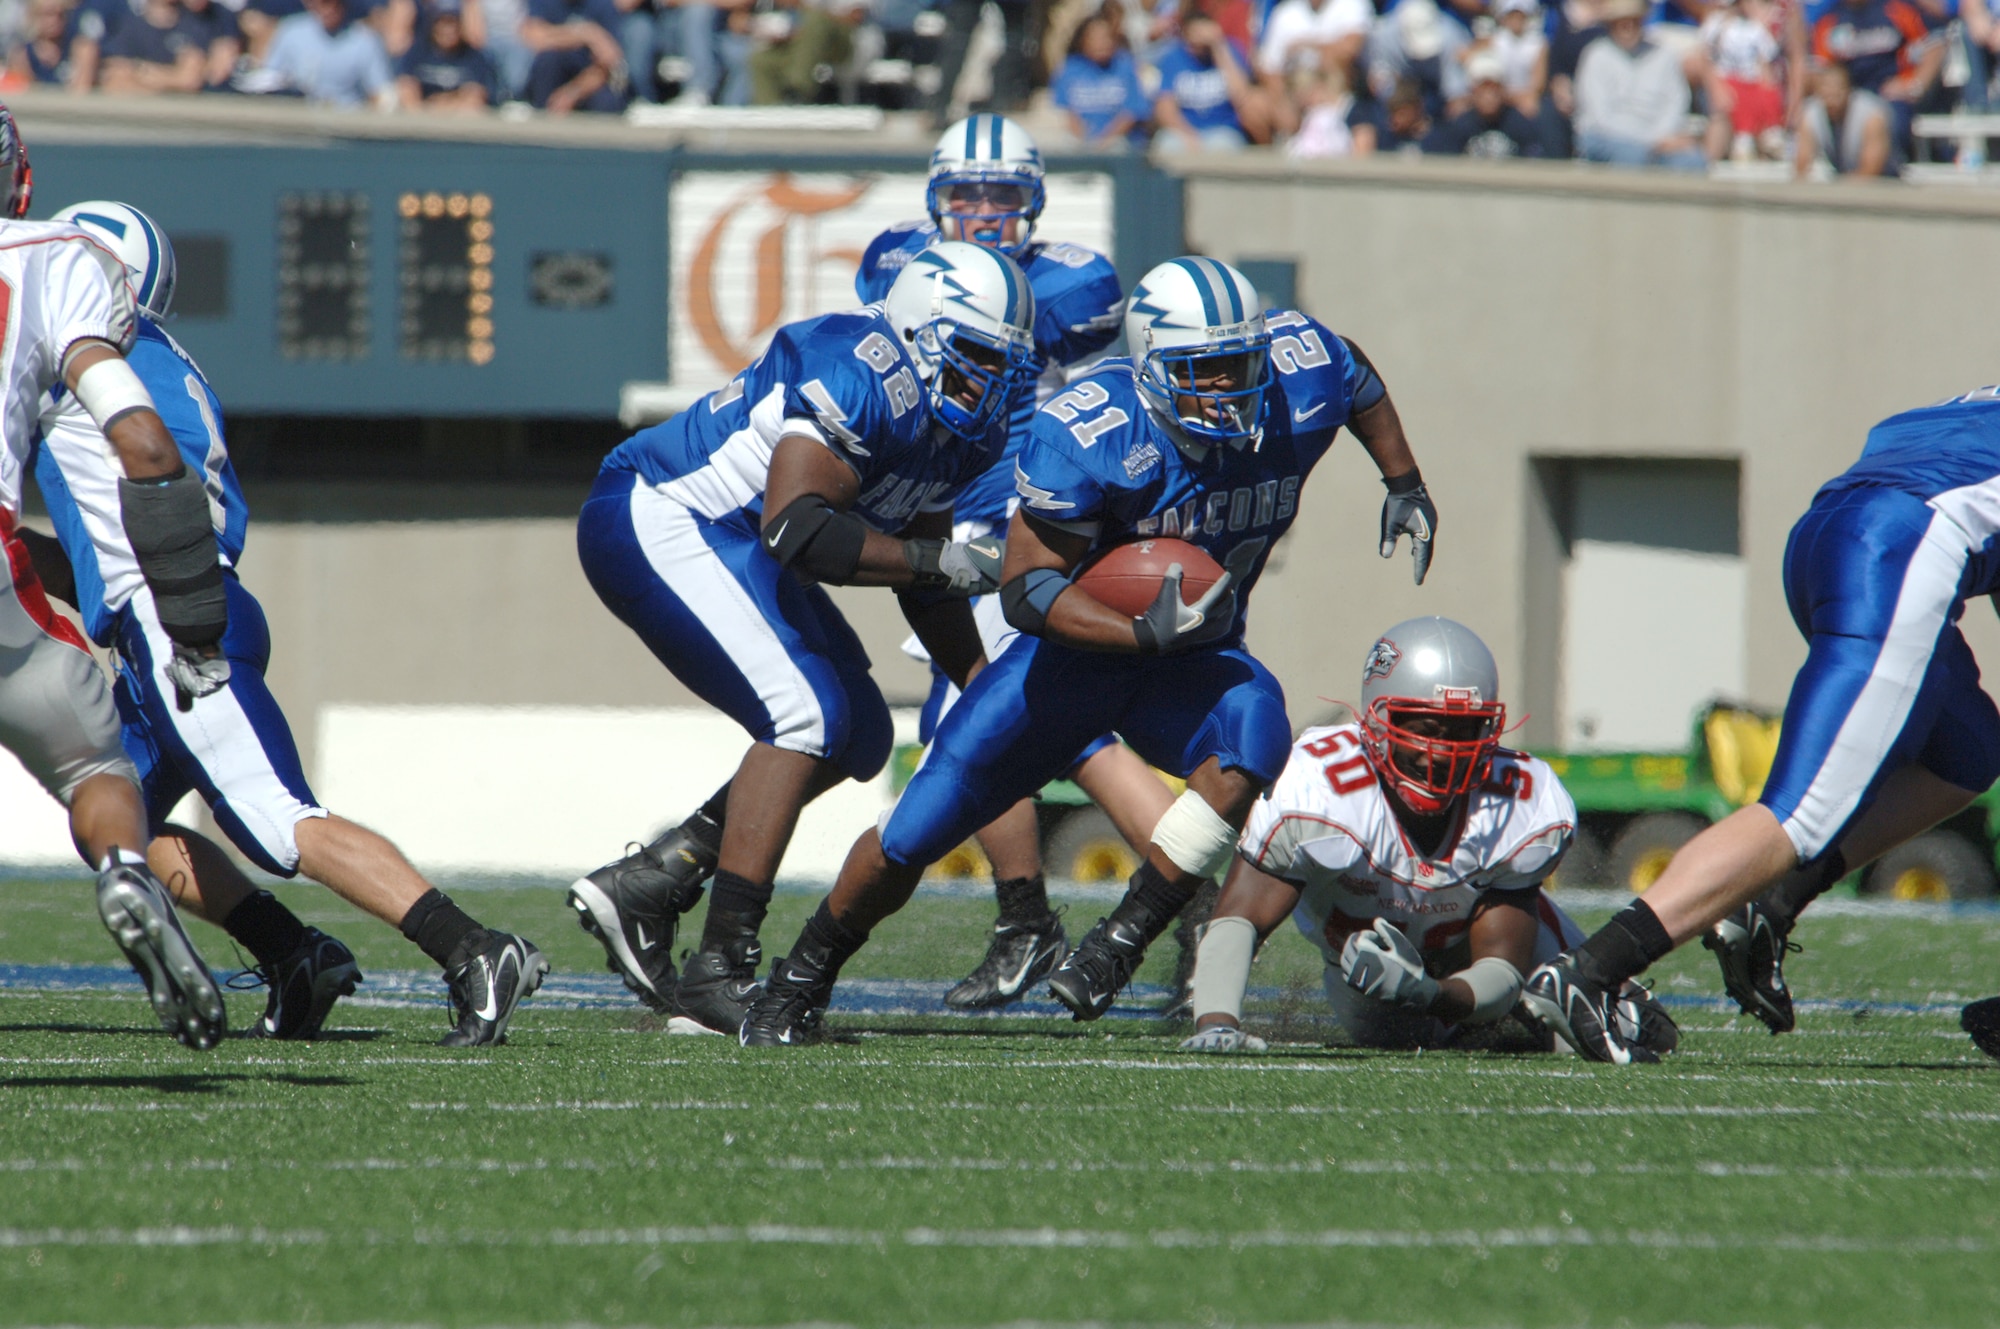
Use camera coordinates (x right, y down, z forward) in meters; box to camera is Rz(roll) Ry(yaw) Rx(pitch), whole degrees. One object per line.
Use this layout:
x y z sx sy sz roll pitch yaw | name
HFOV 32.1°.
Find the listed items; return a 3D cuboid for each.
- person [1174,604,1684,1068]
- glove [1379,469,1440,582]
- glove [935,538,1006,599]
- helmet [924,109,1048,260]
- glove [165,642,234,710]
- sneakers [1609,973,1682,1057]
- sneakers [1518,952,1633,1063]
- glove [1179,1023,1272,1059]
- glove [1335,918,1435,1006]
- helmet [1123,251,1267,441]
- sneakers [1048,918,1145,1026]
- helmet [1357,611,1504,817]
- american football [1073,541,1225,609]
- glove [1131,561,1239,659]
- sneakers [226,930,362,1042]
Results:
1.184 0.571 10.301 1.002 0.822 1.459 0 -10 3 | person
1.284 -0.460 10.817 0.198 0.374 0.109 -15 -14 16 | glove
-0.083 -0.290 10.062 0.188 0.152 0.272 0 11 -3 | glove
-0.049 -1.616 11.534 0.330 0.382 0.442 0 11 1 | helmet
-2.193 0.025 9.525 0.115 0.151 0.190 -8 -4 -33 | glove
1.845 1.005 9.911 0.141 0.115 0.252 6 28 -34 | sneakers
1.646 0.965 9.838 0.313 0.283 0.218 2 11 9 | sneakers
0.643 1.062 9.902 0.260 0.090 0.301 0 11 -4 | glove
1.104 0.816 9.788 0.263 0.255 0.275 1 11 3 | glove
0.592 -0.968 10.081 0.367 0.447 0.521 -9 38 -17 | helmet
0.296 0.880 10.191 0.162 0.193 0.412 39 15 5 | sneakers
1.151 0.119 9.983 0.391 0.595 0.540 2 8 -5 | helmet
0.417 -0.256 9.834 0.290 0.202 0.214 -4 -6 15 | american football
0.516 -0.153 9.799 0.276 0.222 0.109 1 11 2 | glove
-1.982 0.900 9.922 0.233 0.471 0.163 21 45 -8 | sneakers
